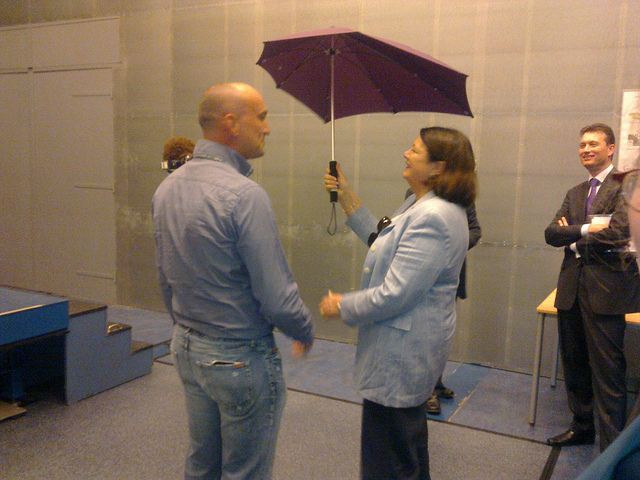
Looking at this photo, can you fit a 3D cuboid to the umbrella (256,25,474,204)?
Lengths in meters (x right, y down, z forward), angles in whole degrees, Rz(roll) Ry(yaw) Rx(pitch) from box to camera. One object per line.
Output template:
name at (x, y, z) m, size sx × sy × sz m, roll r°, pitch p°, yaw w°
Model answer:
umbrella at (0.045, -0.682, 2.698) m, size 1.088 × 0.711 × 0.946 m, roll 6°, pitch -10°, yaw 4°

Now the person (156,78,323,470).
person at (-0.379, 0.189, 2.338) m, size 0.696 × 1.745 × 0.385 m, roll -1°, pitch 8°, yaw -7°

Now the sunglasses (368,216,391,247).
sunglasses at (0.320, -0.055, 2.796) m, size 0.063 × 0.148 × 0.115 m, roll 22°, pitch -5°, yaw 26°

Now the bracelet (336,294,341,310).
bracelet at (0.089, 0.285, 2.521) m, size 0.015 × 0.042 × 0.031 m, roll 9°, pitch -6°, yaw 5°

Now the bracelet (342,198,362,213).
bracelet at (0.170, -0.173, 2.918) m, size 0.106 × 0.024 × 0.100 m, roll -35°, pitch 1°, yaw -24°
